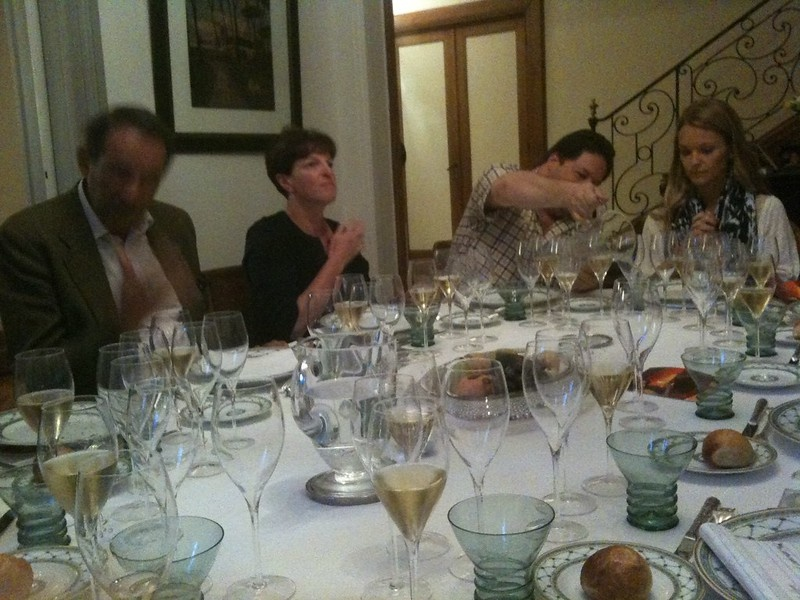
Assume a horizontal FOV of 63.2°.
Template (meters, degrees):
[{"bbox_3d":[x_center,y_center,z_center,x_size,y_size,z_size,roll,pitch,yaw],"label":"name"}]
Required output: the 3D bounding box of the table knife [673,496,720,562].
[{"bbox_3d":[0.413,0.318,0.905,0.040,0.024,0.176,5,24,31],"label":"table knife"}]

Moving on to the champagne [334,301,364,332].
[{"bbox_3d":[-0.132,0.039,1.718,0.070,0.066,0.077,1,3,37],"label":"champagne"}]

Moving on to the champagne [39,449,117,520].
[{"bbox_3d":[-0.444,0.229,0.914,0.097,0.122,0.106,0,1,-14],"label":"champagne"}]

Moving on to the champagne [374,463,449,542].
[{"bbox_3d":[0.012,0.257,0.811,0.090,0.084,0.072,-4,9,16],"label":"champagne"}]

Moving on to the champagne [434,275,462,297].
[{"bbox_3d":[0.138,-0.041,1.971,0.055,0.100,0.064,-1,0,-8],"label":"champagne"}]

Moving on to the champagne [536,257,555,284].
[{"bbox_3d":[0.493,-0.102,2.201,0.065,0.126,0.081,-1,1,0],"label":"champagne"}]

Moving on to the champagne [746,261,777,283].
[{"bbox_3d":[0.987,-0.078,1.772,0.052,0.092,0.057,-12,9,-23],"label":"champagne"}]

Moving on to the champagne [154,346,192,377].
[{"bbox_3d":[-0.478,0.126,1.393,0.063,0.050,0.067,0,0,-11],"label":"champagne"}]

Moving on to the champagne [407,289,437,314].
[{"bbox_3d":[0.059,-0.003,1.909,0.068,0.118,0.070,1,8,6],"label":"champagne"}]

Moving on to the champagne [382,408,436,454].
[{"bbox_3d":[0.014,0.171,0.848,0.052,0.062,0.052,-2,5,2],"label":"champagne"}]

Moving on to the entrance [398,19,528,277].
[{"bbox_3d":[0.660,-1.607,7.313,1.535,4.345,0.168,-1,-28,5],"label":"entrance"}]

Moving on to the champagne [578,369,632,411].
[{"bbox_3d":[0.350,0.160,1.139,0.081,0.096,0.084,7,-6,-14],"label":"champagne"}]
